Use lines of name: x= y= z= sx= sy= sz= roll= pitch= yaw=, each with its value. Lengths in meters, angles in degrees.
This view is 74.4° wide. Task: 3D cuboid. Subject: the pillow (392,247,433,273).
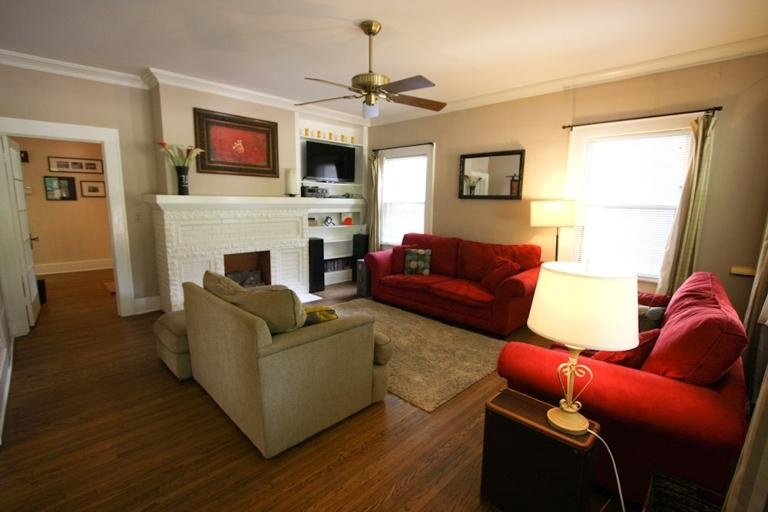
pillow: x=0.414 y=0.074 z=7.188 sx=0.428 sy=0.383 sz=0.127 roll=1 pitch=-10 yaw=23

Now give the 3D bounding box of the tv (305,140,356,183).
tv: x=-0.913 y=-1.539 z=8.076 sx=0.099 sy=0.717 sz=1.248 roll=6 pitch=6 yaw=42

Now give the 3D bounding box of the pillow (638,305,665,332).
pillow: x=2.503 y=0.587 z=4.764 sx=0.214 sy=0.236 sz=0.273 roll=13 pitch=12 yaw=25

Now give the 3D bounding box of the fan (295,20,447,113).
fan: x=-0.138 y=-1.800 z=5.269 sx=1.166 sy=0.585 sz=1.187 roll=1 pitch=3 yaw=38

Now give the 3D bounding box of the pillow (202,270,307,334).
pillow: x=-1.177 y=0.426 z=4.564 sx=0.982 sy=0.401 sz=0.425 roll=9 pitch=12 yaw=35

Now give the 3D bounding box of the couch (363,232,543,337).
couch: x=0.937 y=0.305 z=6.927 sx=2.387 sy=0.975 sz=0.996 roll=11 pitch=16 yaw=37

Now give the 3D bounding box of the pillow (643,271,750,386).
pillow: x=2.728 y=0.566 z=4.466 sx=0.600 sy=0.572 sz=1.557 roll=5 pitch=19 yaw=25

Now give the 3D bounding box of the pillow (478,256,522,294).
pillow: x=1.476 y=0.244 z=6.354 sx=0.458 sy=0.376 sz=0.649 roll=5 pitch=10 yaw=16

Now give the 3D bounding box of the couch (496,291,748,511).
couch: x=2.158 y=0.770 z=4.218 sx=1.472 sy=1.491 sz=2.199 roll=13 pitch=17 yaw=38

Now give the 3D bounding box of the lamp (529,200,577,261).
lamp: x=2.144 y=-0.333 z=6.349 sx=0.545 sy=0.768 sz=0.455 roll=9 pitch=12 yaw=30

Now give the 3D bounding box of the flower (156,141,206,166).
flower: x=-2.621 y=-1.316 z=6.504 sx=0.395 sy=0.150 sz=0.349 roll=1 pitch=0 yaw=30

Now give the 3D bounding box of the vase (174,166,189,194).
vase: x=-2.602 y=-0.980 z=6.529 sx=0.155 sy=0.356 sz=0.207 roll=-2 pitch=11 yaw=-22

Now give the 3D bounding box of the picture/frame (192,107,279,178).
picture/frame: x=-2.084 y=-1.577 z=6.937 sx=1.146 sy=0.807 sz=0.046 roll=-3 pitch=8 yaw=-38

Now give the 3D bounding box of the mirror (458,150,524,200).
mirror: x=1.527 y=-1.130 z=6.985 sx=0.763 sy=0.519 sz=0.054 roll=9 pitch=12 yaw=39

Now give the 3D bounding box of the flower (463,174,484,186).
flower: x=1.265 y=-1.092 z=7.193 sx=0.252 sy=0.161 sz=0.136 roll=6 pitch=11 yaw=37

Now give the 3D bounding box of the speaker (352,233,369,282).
speaker: x=-0.380 y=-0.040 z=8.527 sx=0.343 sy=0.257 sz=1.189 roll=-4 pitch=47 yaw=3

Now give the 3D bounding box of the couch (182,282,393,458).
couch: x=-1.040 y=0.874 z=5.255 sx=1.453 sy=1.177 sz=1.914 roll=-10 pitch=16 yaw=-38

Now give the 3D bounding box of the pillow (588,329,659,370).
pillow: x=2.024 y=0.856 z=4.400 sx=0.496 sy=0.118 sz=0.460 roll=-14 pitch=1 yaw=-23

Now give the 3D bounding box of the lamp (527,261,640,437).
lamp: x=1.490 y=0.680 z=3.842 sx=0.761 sy=1.257 sz=0.424 roll=6 pitch=11 yaw=17
